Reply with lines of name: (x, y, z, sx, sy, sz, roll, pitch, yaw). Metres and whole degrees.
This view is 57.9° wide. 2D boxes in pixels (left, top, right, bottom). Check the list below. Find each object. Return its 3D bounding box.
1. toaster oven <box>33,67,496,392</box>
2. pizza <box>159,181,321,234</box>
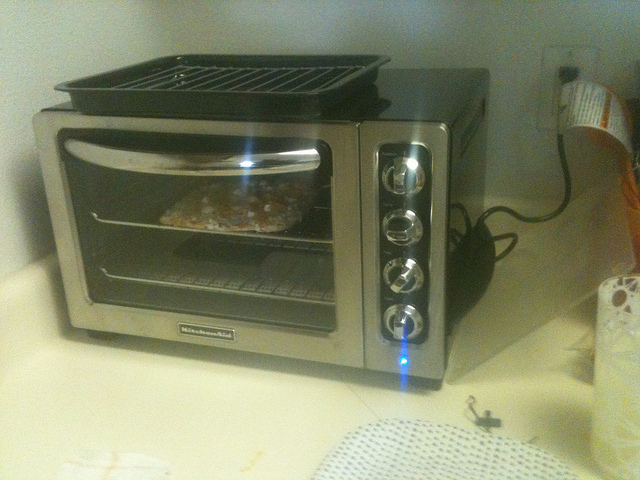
toaster oven: (-0.075, -0.048, 0.986, 0.719, 0.403, 0.306, 7, 29, 15)
pizza: (-0.122, -0.055, 0.890, 0.259, 0.087, 0.059, 7, 29, 16)
